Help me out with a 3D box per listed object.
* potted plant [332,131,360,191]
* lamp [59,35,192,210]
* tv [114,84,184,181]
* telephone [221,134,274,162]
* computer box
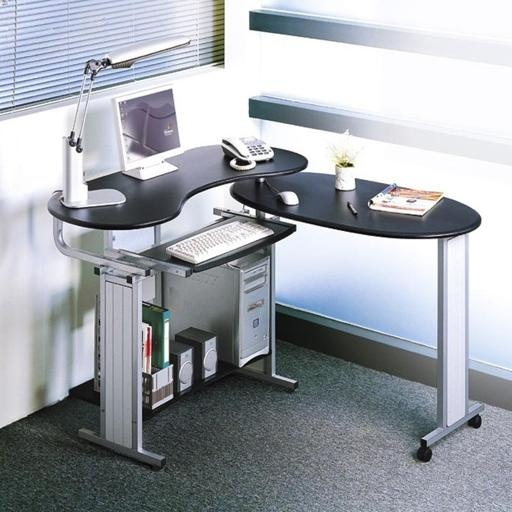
[{"bbox_3d":[0.370,-0.390,2.378,0.147,0.219,0.113,-2,8,-12],"label":"potted plant"},{"bbox_3d":[-0.599,-0.529,2.173,0.490,0.614,0.514,9,17,28],"label":"lamp"},{"bbox_3d":[-0.429,-0.509,2.378,0.374,0.332,0.130,-3,12,37],"label":"tv"},{"bbox_3d":[-0.043,-0.481,2.518,0.148,0.065,0.175,-22,39,-37],"label":"telephone"},{"bbox_3d":[-0.189,0.245,2.706,0.450,0.450,0.281,7,14,33],"label":"computer box"}]
